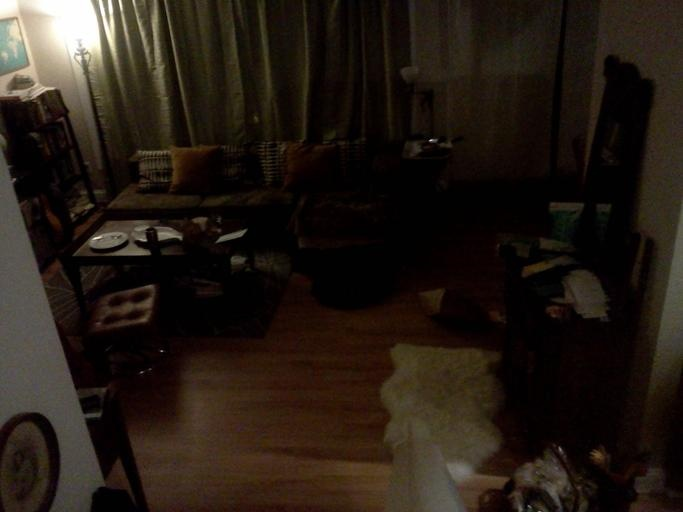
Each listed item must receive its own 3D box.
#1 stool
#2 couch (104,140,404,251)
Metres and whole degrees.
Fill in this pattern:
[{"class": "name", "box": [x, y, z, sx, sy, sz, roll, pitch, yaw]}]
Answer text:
[{"class": "stool", "box": [-1.491, 0.516, 3.789, 0.551, 0.477, 0.463, -12, 25, -19]}, {"class": "couch", "box": [-0.820, -0.580, 5.201, 2.664, 0.992, 0.846, -1, 22, 4]}]
